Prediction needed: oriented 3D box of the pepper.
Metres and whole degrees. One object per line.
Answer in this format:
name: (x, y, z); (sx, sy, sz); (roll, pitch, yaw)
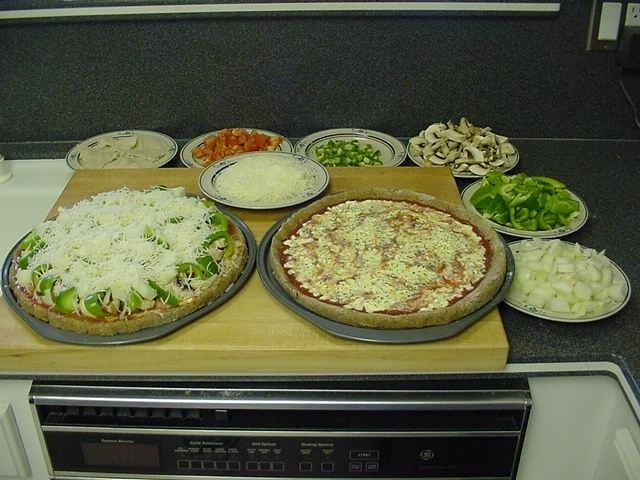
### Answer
pepper: (0.690, -0.129, 1.941); (0.283, 0.096, 0.269); (-20, 31, -26)
